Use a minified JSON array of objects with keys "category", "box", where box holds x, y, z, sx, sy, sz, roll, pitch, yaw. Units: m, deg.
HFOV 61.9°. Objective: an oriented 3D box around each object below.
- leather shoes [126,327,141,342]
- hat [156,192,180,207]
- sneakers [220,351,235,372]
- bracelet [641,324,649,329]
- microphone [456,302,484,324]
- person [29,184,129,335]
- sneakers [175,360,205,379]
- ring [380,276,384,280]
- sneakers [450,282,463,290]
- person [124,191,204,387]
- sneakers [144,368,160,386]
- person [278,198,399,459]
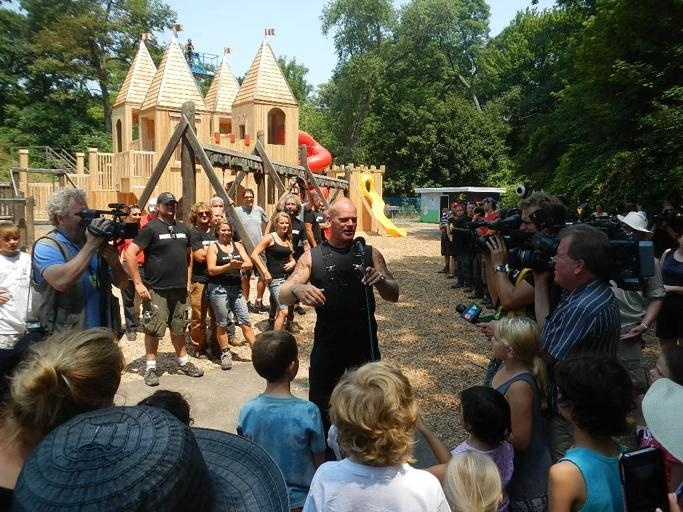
[{"category":"leather shoes","box":[-3.084,1.147,8.395,0.106,0.131,0.273,2,0,-34]},{"category":"hat","box":[-2.079,-0.675,6.734,0.173,0.134,0.248,0,1,-31]},{"category":"sneakers","box":[-1.463,1.337,7.232,0.162,0.222,0.484,1,-6,-13]},{"category":"bracelet","box":[2.742,0.631,5.156,0.069,0.019,0.066,-25,10,-31]},{"category":"microphone","box":[1.014,0.465,4.541,0.184,0.218,0.361,4,8,15]},{"category":"person","box":[-2.181,0.056,4.722,0.690,1.219,0.734,-2,9,-27]},{"category":"sneakers","box":[-1.857,1.378,6.976,0.314,0.162,0.154,4,4,14]},{"category":"ring","box":[0.323,0.172,4.585,0.030,0.023,0.030,2,0,0]},{"category":"sneakers","box":[2.551,0.654,12.681,0.289,0.128,0.109,3,-3,8]},{"category":"person","box":[-2.089,0.366,6.682,0.745,2.189,0.467,-5,10,-42]},{"category":"sneakers","box":[-2.189,1.378,6.562,0.162,0.183,0.220,-1,8,-18]},{"category":"person","box":[-0.013,0.676,4.786,0.943,2.203,0.707,-1,6,-3]}]
